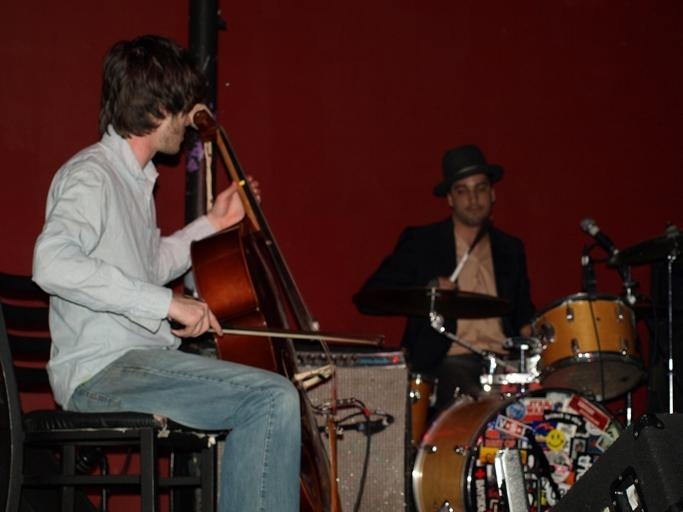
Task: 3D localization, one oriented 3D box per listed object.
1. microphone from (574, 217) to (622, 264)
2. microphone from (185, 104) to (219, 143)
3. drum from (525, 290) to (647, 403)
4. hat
[{"bbox_3d":[1.406,-0.062,4.163,0.149,0.273,0.341,-12,-25,19],"label":"microphone"},{"bbox_3d":[-0.634,-0.616,3.480,0.100,0.062,0.179,-33,-70,0],"label":"microphone"},{"bbox_3d":[1.211,0.484,3.837,0.474,0.415,0.540,-3,-27,-8],"label":"drum"},{"bbox_3d":[0.767,-0.539,4.644,0.429,0.256,0.441,-11,-6,-15],"label":"hat"}]
